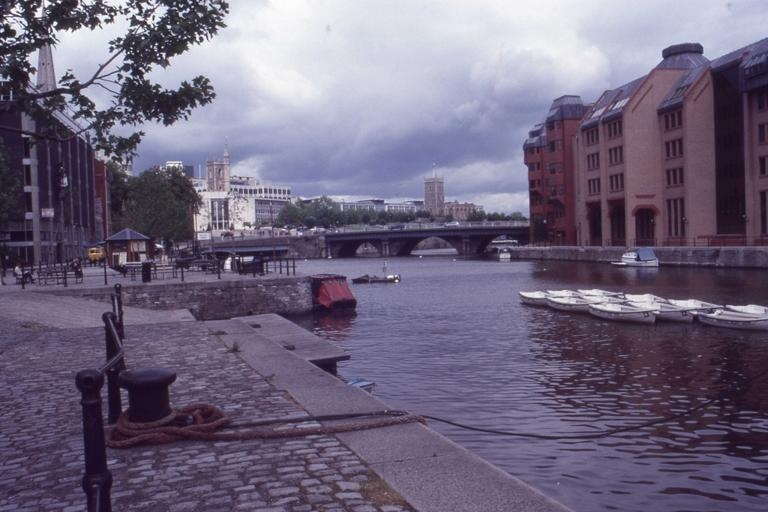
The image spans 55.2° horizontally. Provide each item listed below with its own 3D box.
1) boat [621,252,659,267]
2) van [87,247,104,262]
[{"bbox_3d":[25.374,0.299,73.072,1.677,1.406,3.516,-2,0,-30],"label":"boat"},{"bbox_3d":[-31.695,-0.206,80.195,1.976,1.352,2.535,2,8,-15],"label":"van"}]
